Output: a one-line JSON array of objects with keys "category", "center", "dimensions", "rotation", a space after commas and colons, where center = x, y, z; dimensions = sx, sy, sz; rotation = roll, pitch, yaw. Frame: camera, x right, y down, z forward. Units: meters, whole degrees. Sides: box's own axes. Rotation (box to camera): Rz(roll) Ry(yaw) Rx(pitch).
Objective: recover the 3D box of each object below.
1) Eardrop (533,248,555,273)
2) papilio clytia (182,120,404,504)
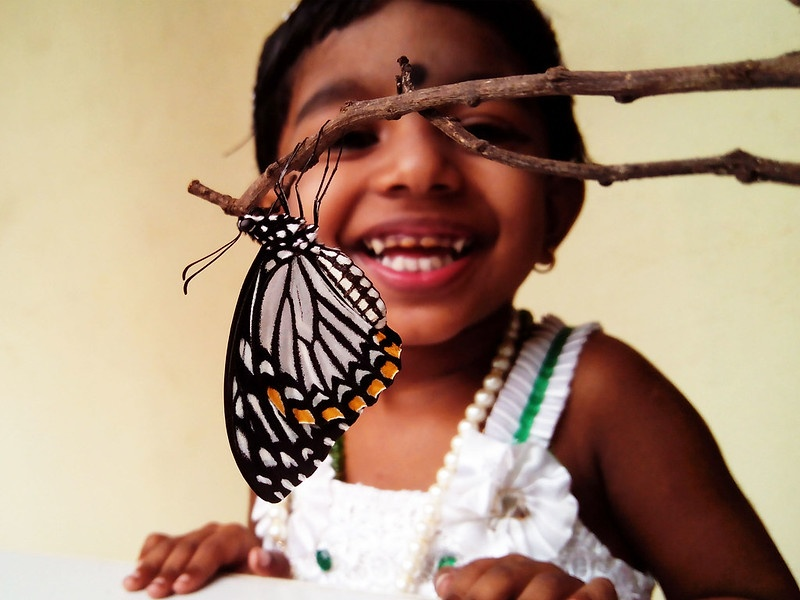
[{"category": "Eardrop", "center": [0.203, -0.052, 1.144], "dimensions": [0.026, 0.014, 0.037], "rotation": [5, -56, -13]}, {"category": "papilio clytia", "center": [-0.101, 0.067, 0.914], "dimensions": [0.178, 0.287, 0.148], "rotation": [3, -22, -20]}]
